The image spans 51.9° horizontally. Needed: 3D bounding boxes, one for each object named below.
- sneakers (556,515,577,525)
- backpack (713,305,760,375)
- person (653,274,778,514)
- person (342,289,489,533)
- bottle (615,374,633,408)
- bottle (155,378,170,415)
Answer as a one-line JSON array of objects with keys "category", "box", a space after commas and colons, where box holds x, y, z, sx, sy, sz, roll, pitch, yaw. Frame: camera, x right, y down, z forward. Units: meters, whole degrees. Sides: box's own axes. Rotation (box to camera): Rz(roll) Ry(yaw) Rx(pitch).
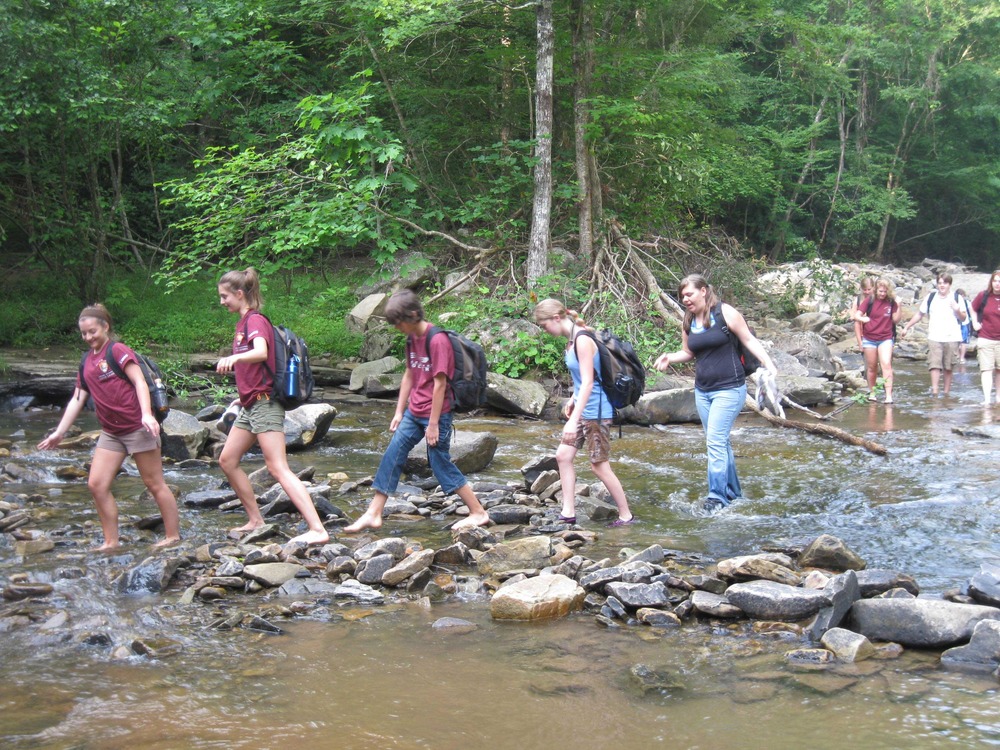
[{"category": "sneakers", "box": [0.741, 1.603, 11.199, 0.233, 0.079, 0.077, 4, -3, -11]}, {"category": "backpack", "box": [2.617, -0.370, 11.251, 0.497, 0.770, 0.275, -5, 5, -7]}, {"category": "person", "box": [2.451, 0.195, 11.389, 1.106, 2.641, 0.502, -4, 5, 11]}, {"category": "person", "box": [-0.823, 0.395, 10.690, 1.219, 2.558, 0.491, -5, 5, -2]}, {"category": "bottle", "box": [1.385, 0.181, 11.157, 0.195, 0.342, 0.240, -4, 5, 5]}, {"category": "bottle", "box": [-3.377, 0.239, 10.191, 0.097, 0.306, 0.239, -4, -3, -8]}]
